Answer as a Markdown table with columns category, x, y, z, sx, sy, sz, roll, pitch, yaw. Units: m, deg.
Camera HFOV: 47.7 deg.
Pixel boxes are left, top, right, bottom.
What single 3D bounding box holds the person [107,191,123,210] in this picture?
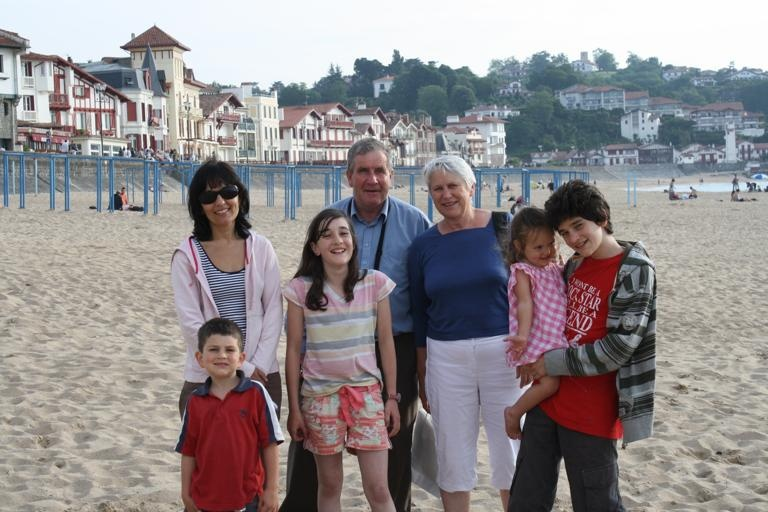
| category | x | y | z | sx | sy | sz | roll | pitch | yaw |
| --- | --- | --- | --- | --- | --- | --- | --- | --- | --- |
| person | -7.850 | -1.618 | 25.497 | 0.357 | 0.550 | 1.393 | -2 | 5 | -17 |

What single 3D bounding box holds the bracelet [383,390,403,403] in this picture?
| category | x | y | z | sx | sy | sz | roll | pitch | yaw |
| --- | --- | --- | --- | --- | --- | --- | --- | --- | --- |
| bracelet | 0.048 | 1.144 | 6.993 | 0.149 | 0.086 | 0.150 | 4 | -8 | 6 |
